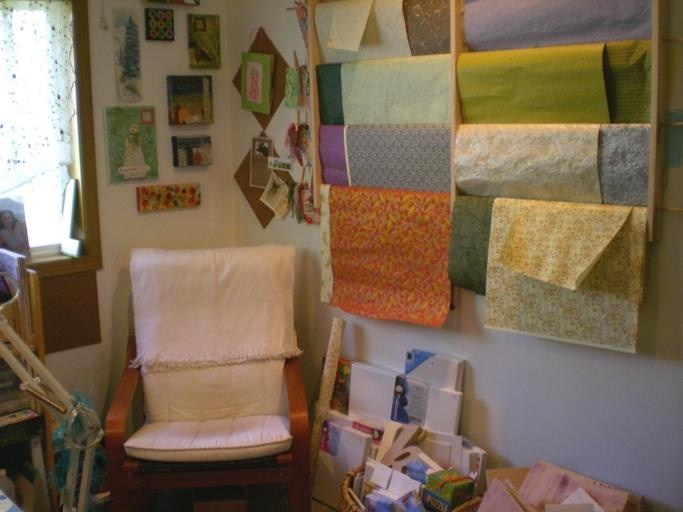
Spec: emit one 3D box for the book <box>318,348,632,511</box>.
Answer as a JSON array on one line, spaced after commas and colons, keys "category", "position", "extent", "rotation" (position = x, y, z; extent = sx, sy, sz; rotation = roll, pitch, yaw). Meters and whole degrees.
[{"category": "book", "position": [0.509, 0.877, 2.719], "extent": [1.157, 0.562, 0.692], "rotation": [9, 15, 26]}]
